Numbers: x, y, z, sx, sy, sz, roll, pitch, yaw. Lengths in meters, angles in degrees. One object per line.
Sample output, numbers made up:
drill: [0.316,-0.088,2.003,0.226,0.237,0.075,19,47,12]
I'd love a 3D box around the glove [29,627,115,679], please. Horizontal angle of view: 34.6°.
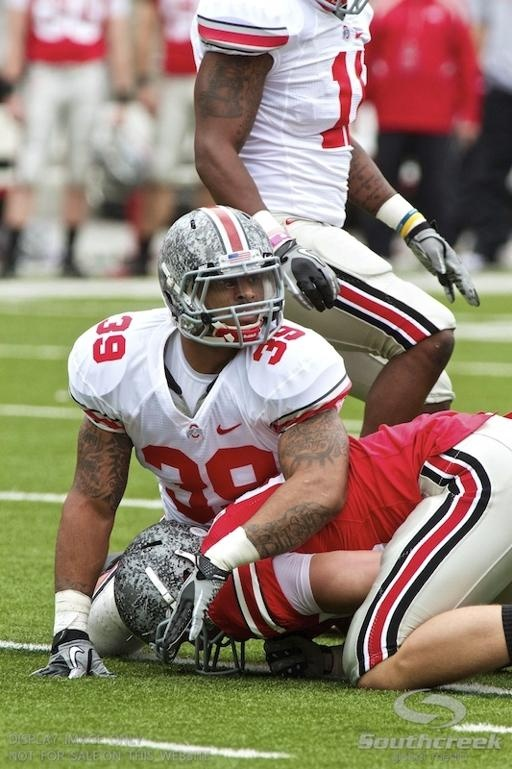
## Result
glove: [-0.357,0.524,1.610,0.124,0.047,0.138,-3,18,-11]

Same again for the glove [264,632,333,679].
glove: [0.081,0.531,1.617,0.111,0.040,0.079,3,19,-16]

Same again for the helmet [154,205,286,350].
helmet: [-0.086,-0.227,1.658,0.238,0.221,0.298,-12,27,-22]

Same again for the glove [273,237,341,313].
glove: [0.122,-0.260,1.983,0.173,0.116,0.086,44,-1,17]
